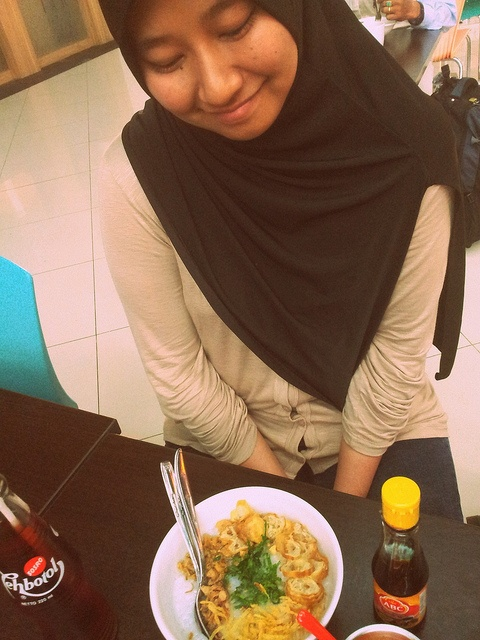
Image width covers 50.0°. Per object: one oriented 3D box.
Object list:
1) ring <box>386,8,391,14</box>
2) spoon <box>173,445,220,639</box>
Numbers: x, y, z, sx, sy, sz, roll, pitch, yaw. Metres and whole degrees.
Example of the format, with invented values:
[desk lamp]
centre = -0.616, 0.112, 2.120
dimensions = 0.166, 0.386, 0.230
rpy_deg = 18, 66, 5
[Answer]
[ring]
centre = 0.714, -1.476, 2.449
dimensions = 0.013, 0.013, 0.014
rpy_deg = 1, 6, 0
[spoon]
centre = -0.040, 0.235, 0.557
dimensions = 0.042, 0.193, 0.030
rpy_deg = -4, 2, 17
